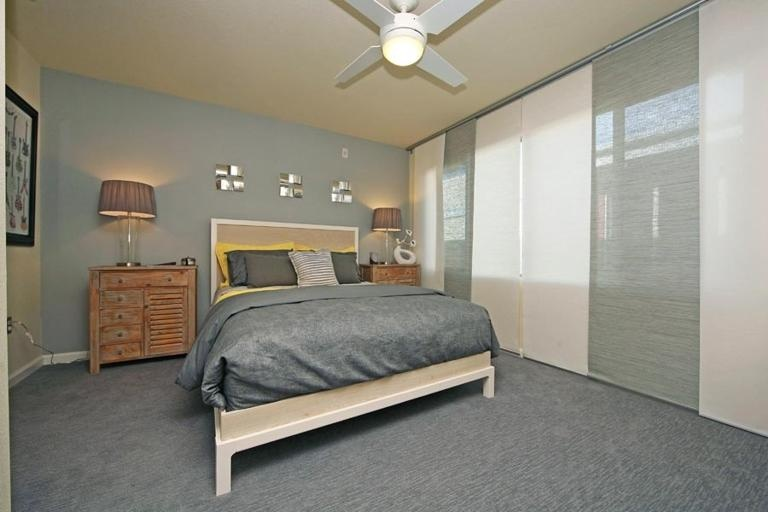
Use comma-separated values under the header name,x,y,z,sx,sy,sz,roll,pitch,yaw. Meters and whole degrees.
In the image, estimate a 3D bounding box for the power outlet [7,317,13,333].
name,x,y,z,sx,sy,sz,roll,pitch,yaw
power outlet,-3.514,0.643,4.423,0.024,0.155,0.070,-3,2,-19

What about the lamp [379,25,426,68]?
name,x,y,z,sx,sy,sz,roll,pitch,yaw
lamp,0.163,-1.801,4.017,0.316,0.233,0.264,-1,2,40

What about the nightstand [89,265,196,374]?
name,x,y,z,sx,sy,sz,roll,pitch,yaw
nightstand,-2.524,0.656,4.820,1.139,1.260,0.531,0,-1,-32

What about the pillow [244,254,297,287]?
name,x,y,z,sx,sy,sz,roll,pitch,yaw
pillow,-1.259,0.115,5.239,0.624,0.483,0.161,3,0,16

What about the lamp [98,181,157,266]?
name,x,y,z,sx,sy,sz,roll,pitch,yaw
lamp,-2.723,-0.350,5.008,0.517,0.658,0.442,-4,2,-30

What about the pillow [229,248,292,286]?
name,x,y,z,sx,sy,sz,roll,pitch,yaw
pillow,-1.528,0.153,5.307,0.600,0.174,0.610,-4,39,2

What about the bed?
name,x,y,z,sx,sy,sz,roll,pitch,yaw
bed,-0.862,0.592,4.736,2.110,1.710,2.912,0,-2,-29

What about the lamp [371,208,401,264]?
name,x,y,z,sx,sy,sz,roll,pitch,yaw
lamp,0.035,-0.326,6.610,0.413,0.647,0.393,1,1,19
